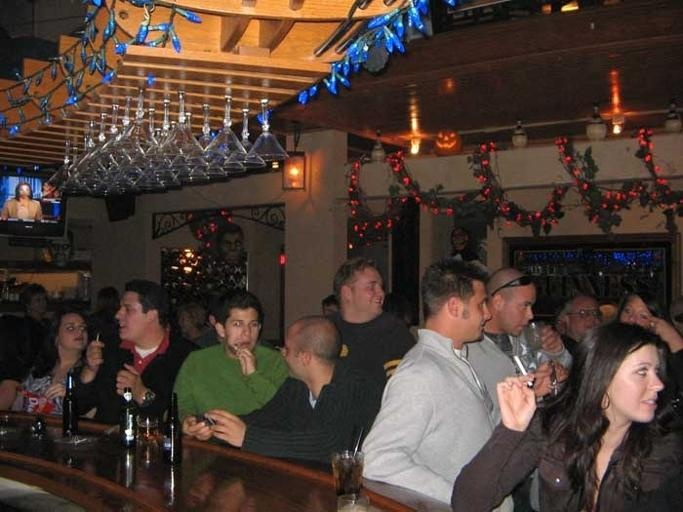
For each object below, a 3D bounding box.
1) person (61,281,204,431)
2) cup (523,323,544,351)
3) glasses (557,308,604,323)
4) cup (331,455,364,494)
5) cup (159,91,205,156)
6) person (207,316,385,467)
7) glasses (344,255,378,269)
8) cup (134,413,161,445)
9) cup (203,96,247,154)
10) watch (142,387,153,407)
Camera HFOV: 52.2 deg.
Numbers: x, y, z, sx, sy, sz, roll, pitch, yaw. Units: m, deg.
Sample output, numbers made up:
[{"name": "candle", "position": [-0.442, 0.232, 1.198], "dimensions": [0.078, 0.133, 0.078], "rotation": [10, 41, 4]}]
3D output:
[{"name": "person", "position": [-1.449, 0.706, 4.841], "dimensions": [0.609, 0.973, 0.556], "rotation": [-12, -29, 26]}, {"name": "cup", "position": [1.059, 0.450, 3.884], "dimensions": [0.122, 0.142, 0.123], "rotation": [4, -14, 1]}, {"name": "glasses", "position": [1.733, 0.430, 5.105], "dimensions": [0.149, 0.101, 0.190], "rotation": [7, -11, -44]}, {"name": "cup", "position": [0.029, 0.945, 3.077], "dimensions": [0.166, 0.197, 0.161], "rotation": [-1, -11, 0]}, {"name": "cup", "position": [-0.850, -0.687, 3.730], "dimensions": [0.223, 0.281, 0.277], "rotation": [-1, -11, -7]}, {"name": "person", "position": [-0.298, 0.766, 3.815], "dimensions": [0.880, 0.628, 0.670], "rotation": [4, -22, -16]}, {"name": "glasses", "position": [0.137, 0.046, 4.832], "dimensions": [0.230, 0.082, 0.247], "rotation": [1, -2, 6]}, {"name": "cup", "position": [-1.079, 0.955, 3.823], "dimensions": [0.134, 0.216, 0.137], "rotation": [1, -12, 0]}, {"name": "cup", "position": [-0.630, -0.684, 3.814], "dimensions": [0.250, 0.277, 0.254], "rotation": [1, -4, 0]}, {"name": "watch", "position": [-1.185, 0.875, 4.319], "dimensions": [0.071, 0.066, 0.089], "rotation": [-4, 6, 5]}]
